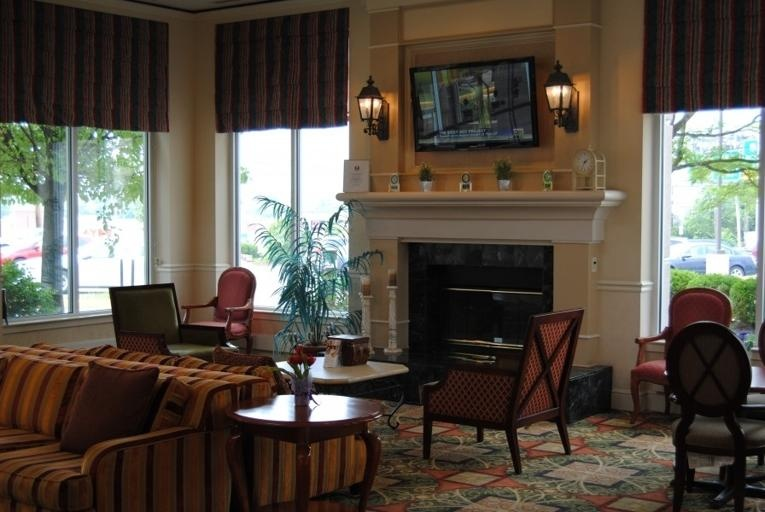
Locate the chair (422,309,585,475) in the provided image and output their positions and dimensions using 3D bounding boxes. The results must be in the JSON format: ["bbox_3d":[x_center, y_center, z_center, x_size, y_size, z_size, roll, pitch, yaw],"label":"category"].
[{"bbox_3d":[1.021,1.105,5.376,1.327,1.661,1.197,-1,-3,36],"label":"chair"}]

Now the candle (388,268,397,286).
[{"bbox_3d":[0.118,0.268,6.940,0.099,0.187,0.296,0,1,0],"label":"candle"}]

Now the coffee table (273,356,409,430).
[{"bbox_3d":[-0.308,1.075,4.591,0.800,0.529,0.995,-2,-3,39],"label":"coffee table"}]

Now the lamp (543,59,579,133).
[{"bbox_3d":[1.879,-1.678,6.176,0.341,0.762,0.200,-1,2,-38],"label":"lamp"}]

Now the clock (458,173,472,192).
[{"bbox_3d":[0.948,-0.813,6.724,0.209,0.282,0.191,0,-2,9],"label":"clock"}]

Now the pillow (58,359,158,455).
[{"bbox_3d":[-1.632,0.934,3.526,0.523,0.478,0.274,-1,2,26],"label":"pillow"}]

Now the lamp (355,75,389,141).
[{"bbox_3d":[-0.130,-1.767,7.060,0.277,0.762,0.359,2,3,44],"label":"lamp"}]

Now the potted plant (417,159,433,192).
[{"bbox_3d":[0.512,-0.905,6.912,0.170,0.333,0.220,0,2,3],"label":"potted plant"}]

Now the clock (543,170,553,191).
[{"bbox_3d":[1.769,-0.795,6.313,0.118,0.240,0.342,1,2,15],"label":"clock"}]

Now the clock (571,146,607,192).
[{"bbox_3d":[2.140,-0.886,6.112,0.310,0.422,0.174,1,2,9],"label":"clock"}]

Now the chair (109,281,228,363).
[{"bbox_3d":[-2.329,0.666,6.770,1.032,1.389,0.992,-4,-3,40],"label":"chair"}]

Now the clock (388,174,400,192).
[{"bbox_3d":[0.147,-0.864,7.063,0.117,0.211,0.110,0,2,-1],"label":"clock"}]

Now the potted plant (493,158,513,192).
[{"bbox_3d":[1.333,-0.881,6.514,0.195,0.323,0.071,1,2,10],"label":"potted plant"}]
